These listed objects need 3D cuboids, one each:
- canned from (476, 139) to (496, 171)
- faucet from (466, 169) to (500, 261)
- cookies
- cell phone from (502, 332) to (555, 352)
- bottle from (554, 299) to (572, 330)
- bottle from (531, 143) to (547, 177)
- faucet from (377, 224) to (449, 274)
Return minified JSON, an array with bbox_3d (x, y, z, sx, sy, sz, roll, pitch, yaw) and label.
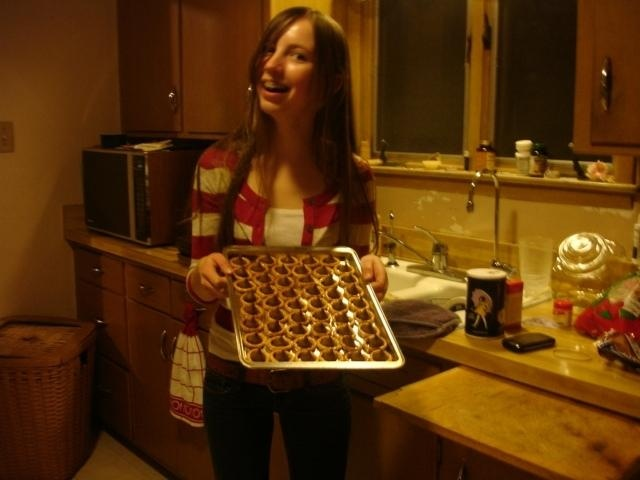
[{"bbox_3d":[0.692,-0.343,2.227,0.086,0.141,0.088,2,2,-11],"label":"canned"},{"bbox_3d":[0.660,-0.103,2.156,0.136,0.348,0.169,3,9,15],"label":"faucet"},{"bbox_3d":[-0.030,0.155,1.300,0.382,0.217,0.413,-1,10,-11],"label":"cookies"},{"bbox_3d":[0.570,0.276,1.453,0.110,0.028,0.153,8,13,38],"label":"cell phone"},{"bbox_3d":[0.739,0.217,1.622,0.053,0.077,0.095,5,10,26],"label":"bottle"},{"bbox_3d":[0.847,-0.310,2.062,0.060,0.123,0.079,4,10,24],"label":"bottle"},{"bbox_3d":[0.369,0.021,2.353,0.122,0.171,0.417,-11,25,-25],"label":"faucet"}]
